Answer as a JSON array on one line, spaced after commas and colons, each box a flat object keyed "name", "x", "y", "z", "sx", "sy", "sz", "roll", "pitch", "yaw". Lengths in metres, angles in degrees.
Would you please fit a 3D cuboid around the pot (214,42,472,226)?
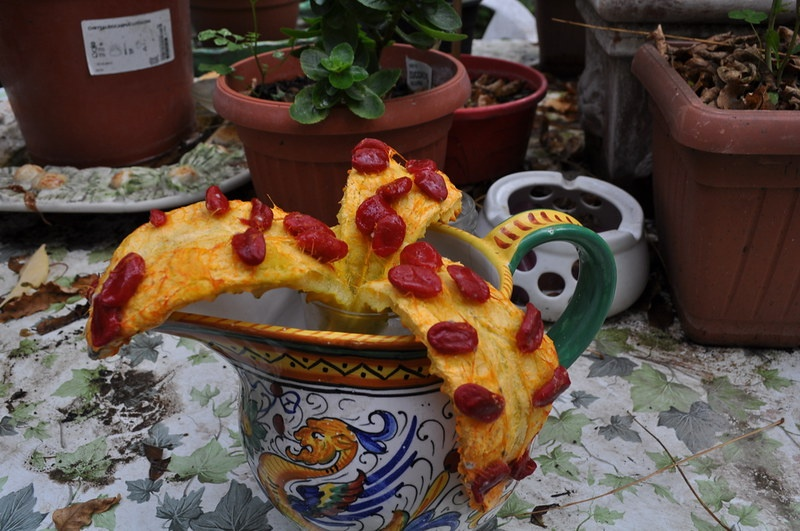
[{"name": "pot", "x": -0.216, "y": -0.331, "z": 2.205, "sx": 0.593, "sy": 0.395, "sz": 0.586, "roll": -1, "pitch": 21, "yaw": 0}]

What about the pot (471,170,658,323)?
[{"name": "pot", "x": 0.491, "y": 0.048, "z": 2.248, "sx": 0.459, "sy": 0.286, "sz": 0.465, "roll": 0, "pitch": 38, "yaw": 0}]

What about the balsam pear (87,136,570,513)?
[{"name": "balsam pear", "x": -0.171, "y": 0.165, "z": 1.483, "sx": 0.764, "sy": 0.254, "sz": 0.647, "roll": 8, "pitch": 37, "yaw": -15}]
